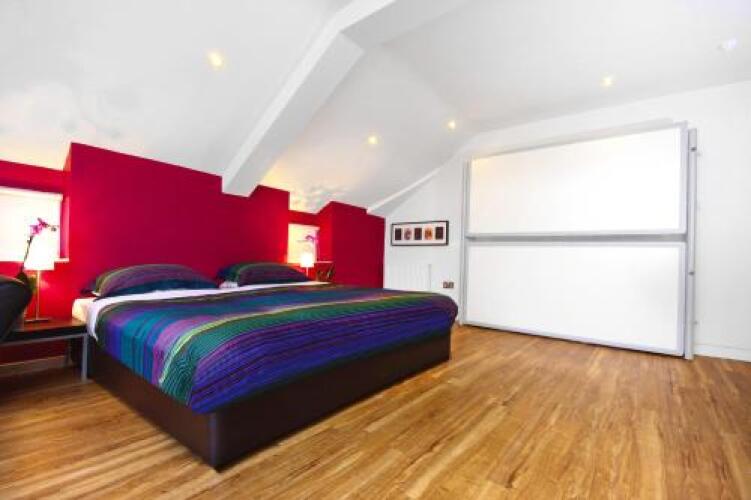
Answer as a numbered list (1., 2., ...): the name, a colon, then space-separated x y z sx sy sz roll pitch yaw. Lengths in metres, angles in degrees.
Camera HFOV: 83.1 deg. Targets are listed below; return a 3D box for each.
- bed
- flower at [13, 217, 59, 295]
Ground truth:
1. bed: -0.702 0.917 3.682 1.824 0.466 1.846 0 0 44
2. flower: -3.545 0.020 4.395 0.277 0.662 0.613 5 -4 -29
